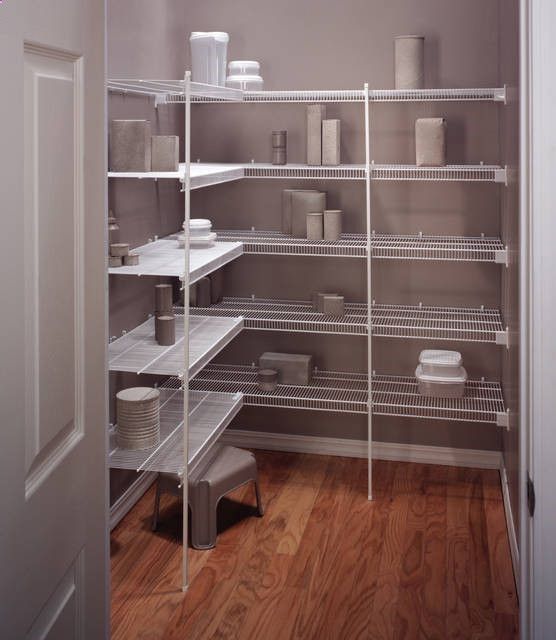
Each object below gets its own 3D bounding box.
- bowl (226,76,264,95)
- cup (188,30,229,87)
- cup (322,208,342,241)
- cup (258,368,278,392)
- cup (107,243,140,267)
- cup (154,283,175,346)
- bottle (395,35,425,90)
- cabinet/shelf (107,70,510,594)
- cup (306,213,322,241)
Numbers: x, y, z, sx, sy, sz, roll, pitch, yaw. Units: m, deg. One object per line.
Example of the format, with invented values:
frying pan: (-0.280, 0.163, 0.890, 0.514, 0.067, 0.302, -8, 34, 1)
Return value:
bowl: (-0.159, -1.093, 2.760, 0.145, 0.075, 0.168, 0, 11, -4)
cup: (-0.300, -1.151, 2.610, 0.153, 0.225, 0.120, -2, 10, -12)
cup: (0.270, -0.469, 2.928, 0.105, 0.213, 0.120, 5, 10, 30)
cup: (-0.056, 0.309, 3.047, 0.079, 0.083, 0.098, 0, 5, -2)
cup: (-0.599, -0.252, 2.291, 0.111, 0.088, 0.065, -2, 6, -24)
cup: (-0.474, -0.023, 2.488, 0.077, 0.250, 0.110, -2, 9, -13)
bottle: (0.597, -1.168, 2.702, 0.121, 0.226, 0.052, 0, 9, 0)
cabinet/shelf: (0.186, 0.013, 2.763, 1.603, 2.063, 0.673, 2, 11, 8)
cup: (0.186, -0.460, 2.934, 0.091, 0.190, 0.108, 1, 8, 5)
